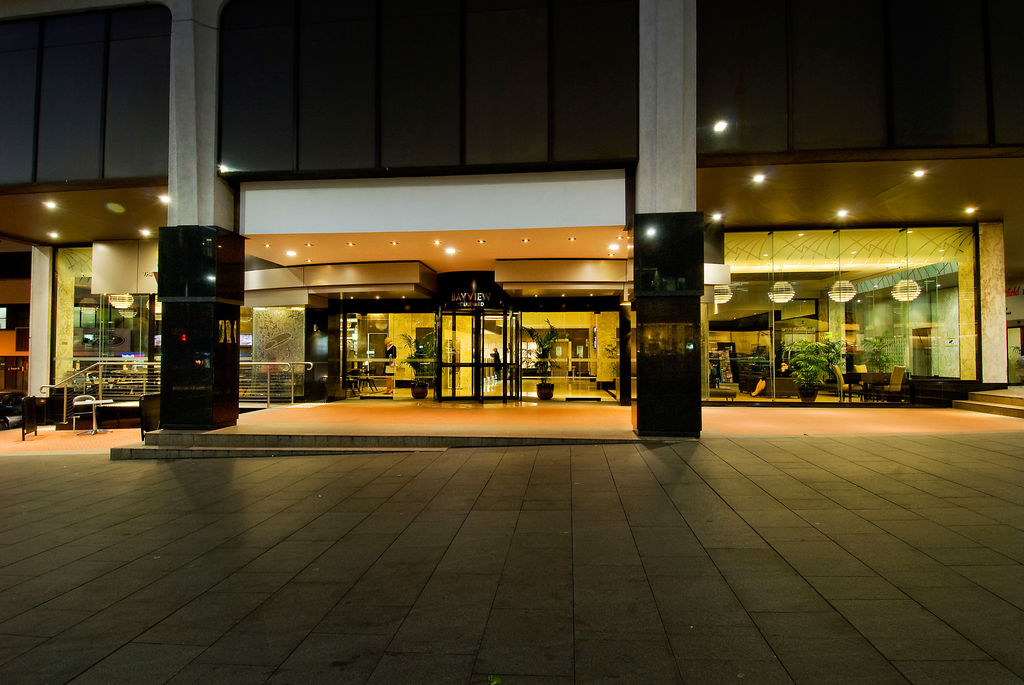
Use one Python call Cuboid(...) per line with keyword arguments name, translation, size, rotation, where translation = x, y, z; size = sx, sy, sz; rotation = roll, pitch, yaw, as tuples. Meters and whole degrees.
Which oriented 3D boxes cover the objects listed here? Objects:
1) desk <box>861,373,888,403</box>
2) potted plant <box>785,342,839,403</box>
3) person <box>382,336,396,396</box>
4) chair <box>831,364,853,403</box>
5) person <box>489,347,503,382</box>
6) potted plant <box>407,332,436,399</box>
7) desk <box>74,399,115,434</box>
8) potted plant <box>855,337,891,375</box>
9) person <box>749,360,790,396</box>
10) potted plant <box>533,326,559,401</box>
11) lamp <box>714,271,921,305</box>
Cuboid(name="desk", translation=(8.903, 1.111, 19.900), size=(0.709, 0.819, 0.612), rotation=(1, -6, 5))
Cuboid(name="potted plant", translation=(7.590, 0.809, 20.589), size=(1.613, 1.624, 1.342), rotation=(1, -4, 4))
Cuboid(name="person", translation=(-3.385, 0.687, 22.530), size=(0.352, 1.539, 0.719), rotation=(-1, -1, -10))
Cuboid(name="chair", translation=(8.120, 1.007, 19.913), size=(0.440, 0.927, 0.319), rotation=(-1, -1, -14))
Cuboid(name="person", translation=(-0.409, 0.588, 21.037), size=(0.319, 0.862, 0.105), rotation=(-1, -2, 5))
Cuboid(name="potted plant", translation=(-2.476, 0.566, 21.994), size=(0.677, 1.904, 0.732), rotation=(0, -1, -15))
Cuboid(name="desk", translation=(-9.137, 1.545, 17.425), size=(0.900, 0.792, 0.868), rotation=(0, -4, 1))
Cuboid(name="potted plant", translation=(8.889, 0.328, 20.297), size=(0.905, 0.842, 0.846), rotation=(1, -4, -3))
Cuboid(name="person", translation=(6.533, 0.998, 20.541), size=(0.895, 0.897, 0.843), rotation=(1, -6, 10))
Cuboid(name="potted plant", translation=(0.900, 0.565, 21.682), size=(0.581, 1.997, 0.959), rotation=(-1, -1, 8))
Cuboid(name="lamp", translation=(8.043, -1.259, 20.122), size=(3.974, 0.571, 0.541), rotation=(1, 17, 4))
